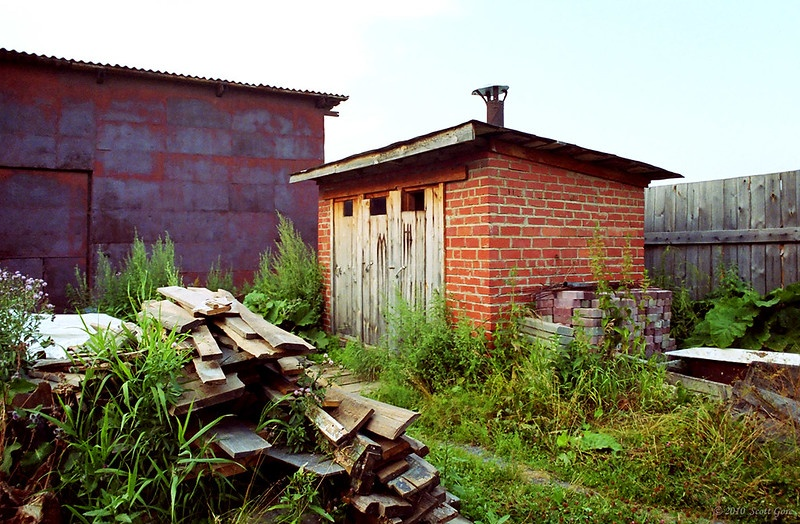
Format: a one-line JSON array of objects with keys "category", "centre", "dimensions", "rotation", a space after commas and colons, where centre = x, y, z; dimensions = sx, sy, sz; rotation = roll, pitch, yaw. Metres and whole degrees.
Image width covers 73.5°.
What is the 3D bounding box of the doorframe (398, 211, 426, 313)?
[{"category": "doorframe", "centre": [0.142, 0.013, 8.151], "dimensions": [0.576, 1.519, 0.190], "rotation": [-3, 7, -17]}]
